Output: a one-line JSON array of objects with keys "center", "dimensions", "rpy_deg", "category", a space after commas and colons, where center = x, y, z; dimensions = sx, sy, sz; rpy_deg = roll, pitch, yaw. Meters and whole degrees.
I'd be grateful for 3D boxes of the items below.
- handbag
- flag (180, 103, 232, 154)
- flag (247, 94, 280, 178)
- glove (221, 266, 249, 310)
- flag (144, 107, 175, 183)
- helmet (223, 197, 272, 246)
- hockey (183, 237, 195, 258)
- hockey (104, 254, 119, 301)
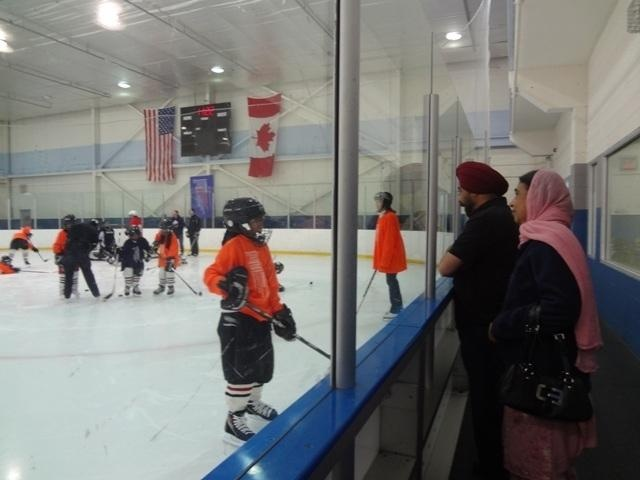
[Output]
[{"center": [0.819, 0.507, 1.872], "dimensions": [0.284, 0.265, 0.107], "rpy_deg": [15, -5, 1], "category": "handbag"}, {"center": [-0.300, -0.292, 1.346], "dimensions": [0.147, 0.144, 0.012], "rpy_deg": [-2, -7, 4], "category": "flag"}, {"center": [-0.150, -0.279, 1.374], "dimensions": [0.125, 0.224, 0.047], "rpy_deg": [-4, 4, -35], "category": "flag"}, {"center": [-0.228, 0.125, 1.359], "dimensions": [0.018, 0.115, 0.084], "rpy_deg": [1, 4, 37], "category": "glove"}, {"center": [-0.401, -0.243, 1.300], "dimensions": [0.079, 0.189, 0.105], "rpy_deg": [-2, 4, -16], "category": "flag"}, {"center": [-0.203, -0.049, 1.391], "dimensions": [0.126, 0.127, 0.099], "rpy_deg": [-2, -1, 23], "category": "helmet"}, {"center": [-0.317, 0.014, 1.271], "dimensions": [0.019, 0.045, 0.028], "rpy_deg": [1, 5, 38], "category": "hockey"}, {"center": [-0.527, 0.095, 1.301], "dimensions": [0.041, 0.021, 0.122], "rpy_deg": [-4, 36, -15], "category": "hockey"}]
